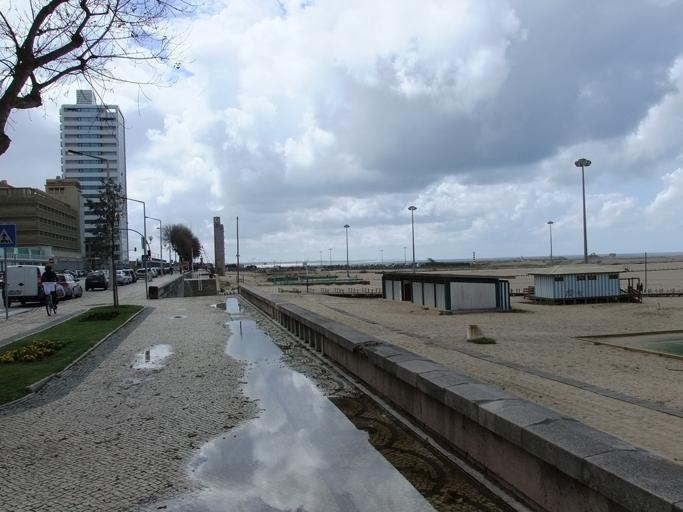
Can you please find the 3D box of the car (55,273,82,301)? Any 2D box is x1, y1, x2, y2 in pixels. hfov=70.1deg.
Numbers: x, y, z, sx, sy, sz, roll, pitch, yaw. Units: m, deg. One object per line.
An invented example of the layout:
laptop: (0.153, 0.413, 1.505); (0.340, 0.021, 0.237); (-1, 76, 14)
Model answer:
car: (-16.559, 1.788, 29.309); (1.350, 1.230, 2.796); (0, 5, -15)
